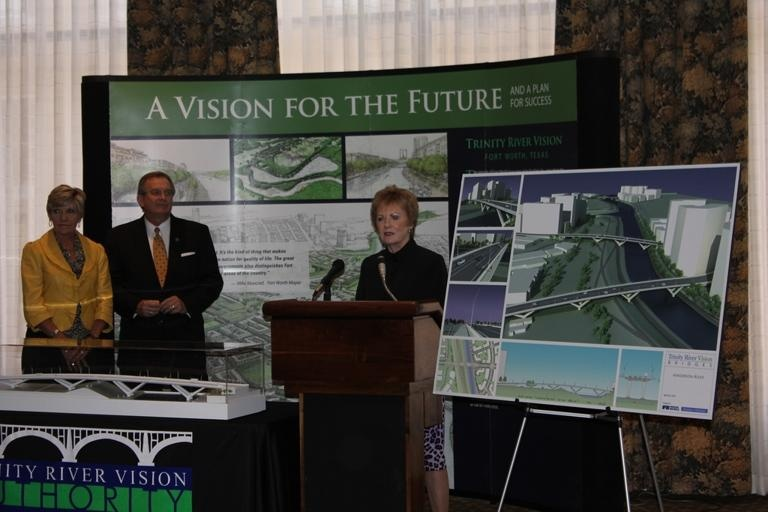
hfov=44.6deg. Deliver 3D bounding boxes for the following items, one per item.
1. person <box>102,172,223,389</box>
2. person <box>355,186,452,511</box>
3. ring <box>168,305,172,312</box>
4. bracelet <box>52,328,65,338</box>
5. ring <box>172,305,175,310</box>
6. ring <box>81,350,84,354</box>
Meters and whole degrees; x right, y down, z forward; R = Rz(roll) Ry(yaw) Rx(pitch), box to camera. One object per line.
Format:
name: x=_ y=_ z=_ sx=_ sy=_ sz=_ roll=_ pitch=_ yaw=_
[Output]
person: x=-1.344 y=0.050 z=5.915 sx=0.792 sy=1.168 sz=1.710 roll=-2 pitch=5 yaw=-16
person: x=0.099 y=0.517 z=5.602 sx=0.551 sy=1.863 sz=0.823 roll=-1 pitch=5 yaw=3
ring: x=-1.478 y=0.365 z=6.461 sx=0.026 sy=0.032 sz=0.009 roll=7 pitch=3 yaw=-15
bracelet: x=-2.183 y=0.522 z=6.259 sx=0.062 sy=0.061 sz=0.043 roll=-1 pitch=9 yaw=42
ring: x=-1.456 y=0.356 z=6.460 sx=0.026 sy=0.023 sz=0.044 roll=9 pitch=-1 yaw=-8
ring: x=-1.716 y=0.542 z=5.312 sx=0.022 sy=0.020 sz=0.005 roll=-24 pitch=-6 yaw=-23
